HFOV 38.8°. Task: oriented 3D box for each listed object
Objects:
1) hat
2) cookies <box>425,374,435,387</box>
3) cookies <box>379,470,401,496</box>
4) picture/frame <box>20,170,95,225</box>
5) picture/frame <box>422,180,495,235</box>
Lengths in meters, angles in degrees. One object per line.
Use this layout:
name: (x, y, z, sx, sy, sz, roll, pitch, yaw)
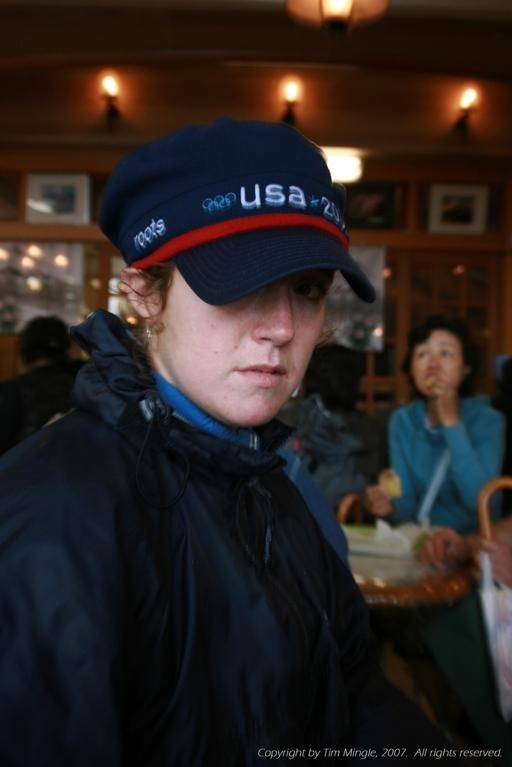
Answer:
hat: (-0.033, -0.233, 0.979, 0.261, 0.159, 0.320, -9, 17, -43)
cookies: (0.263, -0.006, 1.094, 0.006, 0.015, 0.012, 10, -6, -43)
cookies: (0.216, 0.155, 1.178, 0.025, 0.039, 0.031, -29, 1, 27)
picture/frame: (-0.329, -0.307, 1.191, 0.081, 0.064, 0.025, -1, 11, -3)
picture/frame: (0.300, -0.259, 1.061, 0.081, 0.064, 0.008, 5, 23, 14)
